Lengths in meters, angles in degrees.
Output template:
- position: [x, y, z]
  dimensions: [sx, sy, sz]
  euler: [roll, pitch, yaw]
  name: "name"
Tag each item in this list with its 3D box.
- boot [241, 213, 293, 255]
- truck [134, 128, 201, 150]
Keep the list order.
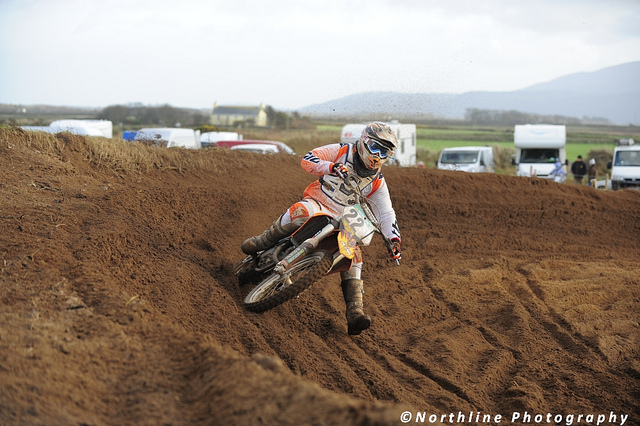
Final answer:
- position: [-1.171, 0.482, 19.547]
  dimensions: [1.071, 0.361, 0.302]
  euler: [-30, 33, 19]
  name: "boot"
- position: [-4.538, -2.197, 26.922]
  dimensions: [1.124, 0.808, 1.927]
  euler: [4, 0, 38]
  name: "truck"
